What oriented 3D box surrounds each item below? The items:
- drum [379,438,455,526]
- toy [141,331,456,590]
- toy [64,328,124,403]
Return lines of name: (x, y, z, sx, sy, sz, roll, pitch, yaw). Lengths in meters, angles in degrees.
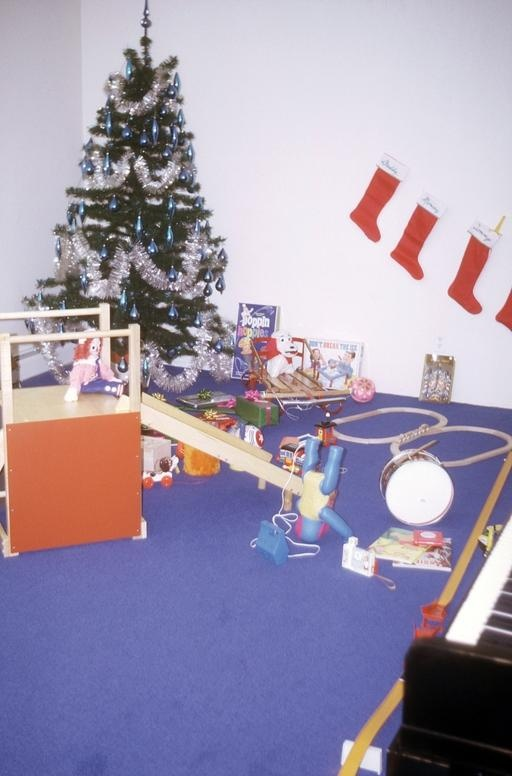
drum: (0.910, 0.464, 3.515, 0.481, 0.348, 0.469, -11, 13, 3)
toy: (0.037, 0.380, 3.339, 1.239, 0.688, 0.926, 6, 14, 13)
toy: (-0.878, -0.118, 3.348, 0.243, 0.270, 0.464, 0, 14, -12)
